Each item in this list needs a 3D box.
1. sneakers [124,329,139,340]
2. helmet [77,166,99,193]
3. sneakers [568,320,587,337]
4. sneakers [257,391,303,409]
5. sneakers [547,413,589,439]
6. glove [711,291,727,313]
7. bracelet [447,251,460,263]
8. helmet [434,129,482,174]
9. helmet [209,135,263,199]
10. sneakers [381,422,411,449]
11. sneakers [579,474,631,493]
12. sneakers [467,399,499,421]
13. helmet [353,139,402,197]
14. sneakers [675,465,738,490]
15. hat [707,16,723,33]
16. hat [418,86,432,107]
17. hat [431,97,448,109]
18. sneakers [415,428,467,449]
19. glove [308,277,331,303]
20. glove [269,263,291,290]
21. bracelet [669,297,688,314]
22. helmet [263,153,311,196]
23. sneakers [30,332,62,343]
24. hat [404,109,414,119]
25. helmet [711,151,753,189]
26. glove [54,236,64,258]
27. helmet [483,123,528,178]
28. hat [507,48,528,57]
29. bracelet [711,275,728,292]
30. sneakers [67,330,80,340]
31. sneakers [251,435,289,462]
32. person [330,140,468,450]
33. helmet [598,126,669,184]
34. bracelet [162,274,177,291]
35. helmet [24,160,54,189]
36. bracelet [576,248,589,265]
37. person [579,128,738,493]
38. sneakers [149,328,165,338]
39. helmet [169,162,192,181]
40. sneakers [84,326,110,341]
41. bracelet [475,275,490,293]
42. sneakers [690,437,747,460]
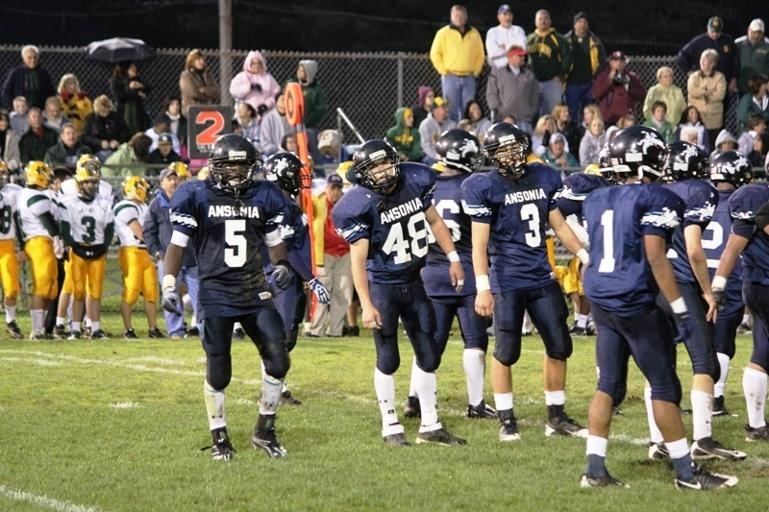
[{"bbox_3d":[-3.627,1.127,16.092,0.259,0.115,0.090,7,7,10],"label":"sneakers"},{"bbox_3d":[-4.297,-1.134,16.193,0.291,0.384,0.342,-10,14,-22],"label":"helmet"},{"bbox_3d":[2.851,1.077,16.371,0.171,0.214,0.471,-1,-4,17],"label":"sneakers"},{"bbox_3d":[-1.127,1.585,12.408,0.571,0.255,0.192,1,-5,3],"label":"sneakers"},{"bbox_3d":[1.861,1.747,11.308,0.431,0.195,0.178,0,-3,2],"label":"sneakers"},{"bbox_3d":[3.382,0.456,11.273,0.160,0.224,0.079,17,-10,-19],"label":"glove"},{"bbox_3d":[0.715,0.005,11.434,0.114,0.117,0.111,-7,-2,16],"label":"bracelet"},{"bbox_3d":[0.794,-1.150,12.141,0.582,0.491,0.450,8,8,-23],"label":"helmet"},{"bbox_3d":[-1.490,-0.930,10.907,0.460,0.568,0.567,-3,12,-18],"label":"helmet"},{"bbox_3d":[0.113,1.761,11.086,0.268,0.187,0.223,0,11,-1],"label":"sneakers"},{"bbox_3d":[1.976,2.039,10.081,0.460,0.198,0.164,1,-4,-5],"label":"sneakers"},{"bbox_3d":[1.043,1.652,11.879,0.299,0.154,0.162,0,-1,-5],"label":"sneakers"},{"bbox_3d":[-0.029,-0.875,11.177,0.393,0.443,0.515,-18,-11,-9],"label":"helmet"},{"bbox_3d":[2.880,2.004,10.165,0.626,0.252,0.214,-4,3,6],"label":"sneakers"},{"bbox_3d":[5.712,-3.997,19.244,0.194,0.231,0.359,4,12,21],"label":"hat"},{"bbox_3d":[0.765,-2.728,18.922,0.298,0.335,0.309,-8,13,-43],"label":"hat"},{"bbox_3d":[0.944,-2.570,18.604,0.315,0.167,0.238,-10,15,-41],"label":"hat"},{"bbox_3d":[0.556,1.808,11.058,0.484,0.179,0.182,-1,-8,6],"label":"sneakers"},{"bbox_3d":[-0.668,0.360,11.304,0.170,0.281,0.084,-36,-6,-20],"label":"glove"},{"bbox_3d":[-1.024,0.209,11.029,0.232,0.110,0.303,0,33,4],"label":"glove"},{"bbox_3d":[2.646,0.443,10.040,0.145,0.152,0.142,-6,2,31],"label":"bracelet"},{"bbox_3d":[-1.149,-0.980,12.750,0.530,0.521,0.426,-11,16,-20],"label":"helmet"},{"bbox_3d":[-4.824,1.139,15.844,0.430,0.180,0.151,0,13,-18],"label":"sneakers"},{"bbox_3d":[0.414,-2.392,18.628,0.138,0.162,0.323,2,11,9],"label":"hat"},{"bbox_3d":[3.787,-0.937,12.082,0.478,0.412,0.381,-2,3,-15],"label":"helmet"},{"bbox_3d":[-4.801,-0.130,16.430,0.128,0.285,0.228,-6,-7,-46],"label":"glove"},{"bbox_3d":[1.265,-1.121,11.519,0.489,0.535,0.545,-15,7,-6],"label":"helmet"},{"bbox_3d":[2.218,-3.415,18.597,0.243,0.084,0.158,0,20,-5],"label":"hat"},{"bbox_3d":[3.417,0.284,11.359,0.152,0.163,0.155,3,-38,32],"label":"bracelet"},{"bbox_3d":[-4.474,1.131,16.067,0.086,0.104,0.259,9,-8,9],"label":"sneakers"},{"bbox_3d":[-1.127,1.847,10.849,0.370,0.171,0.147,25,11,19],"label":"sneakers"},{"bbox_3d":[0.115,0.345,11.150,1.237,2.955,0.850,-1,11,-3],"label":"person"},{"bbox_3d":[2.308,-0.973,10.309,0.553,0.457,0.411,-6,27,6],"label":"helmet"},{"bbox_3d":[-2.062,0.246,10.643,0.114,0.157,0.124,-1,11,-4],"label":"bracelet"},{"bbox_3d":[-5.025,-1.186,16.157,0.346,0.406,0.462,11,12,29],"label":"helmet"},{"bbox_3d":[2.039,0.016,11.363,0.130,0.182,0.056,2,-38,-23],"label":"bracelet"},{"bbox_3d":[2.358,0.444,10.160,1.136,3.186,0.958,2,11,9],"label":"person"},{"bbox_3d":[-3.308,1.114,16.099,0.304,0.139,0.105,6,9,-8],"label":"sneakers"},{"bbox_3d":[-3.012,-1.252,16.459,0.275,0.215,0.404,18,-4,-5],"label":"helmet"},{"bbox_3d":[-4.140,1.122,16.035,0.398,0.174,0.156,1,1,11],"label":"sneakers"},{"bbox_3d":[0.979,0.267,11.156,0.155,0.166,0.157,-1,-2,-8],"label":"bracelet"},{"bbox_3d":[3.148,1.829,10.686,0.600,0.257,0.215,-1,-3,8],"label":"sneakers"}]
